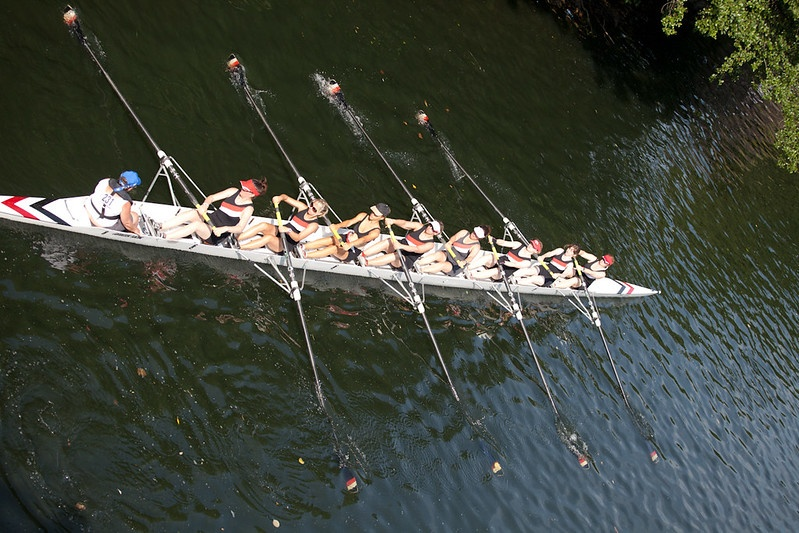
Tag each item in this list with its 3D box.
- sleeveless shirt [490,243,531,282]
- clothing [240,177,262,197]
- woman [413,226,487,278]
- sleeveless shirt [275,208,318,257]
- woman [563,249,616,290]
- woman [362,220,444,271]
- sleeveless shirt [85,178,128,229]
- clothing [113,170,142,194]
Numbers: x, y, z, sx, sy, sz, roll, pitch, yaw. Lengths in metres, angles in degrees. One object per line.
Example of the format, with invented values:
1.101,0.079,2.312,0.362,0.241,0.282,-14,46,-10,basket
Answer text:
3.919,-0.075,40.586,0.849,1.087,0.534,4,58,-37,sleeveless shirt
-4.840,-2.551,37.455,0.320,0.458,0.638,-50,124,-8,clothing
1.900,-0.450,39.907,2.582,1.865,1.389,-15,70,-32,woman
-3.470,-1.279,38.503,1.045,1.567,0.716,33,5,-27,sleeveless shirt
6.740,0.096,41.457,1.410,0.661,1.584,-12,59,-14,woman
0.200,-0.759,39.382,2.687,1.928,1.487,0,50,-33,woman
-9.413,-1.993,37.238,1.282,1.103,1.179,22,63,0,sleeveless shirt
-8.693,-2.781,37.298,0.502,0.474,0.909,30,37,-2,clothing
